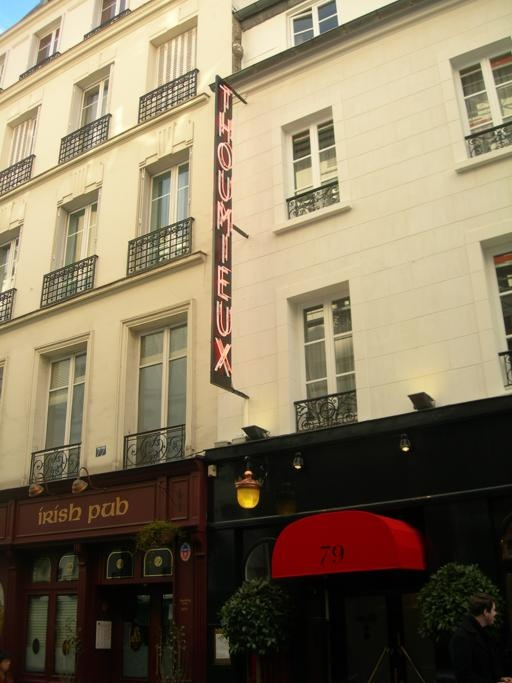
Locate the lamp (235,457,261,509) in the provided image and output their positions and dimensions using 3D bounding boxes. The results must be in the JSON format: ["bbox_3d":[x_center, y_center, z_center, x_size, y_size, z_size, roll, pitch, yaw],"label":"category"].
[{"bbox_3d":[-0.099,1.875,8.606,0.310,0.680,0.725,-4,-20,-2],"label":"lamp"}]

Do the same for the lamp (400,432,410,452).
[{"bbox_3d":[1.740,1.186,7.595,0.149,0.236,0.281,-8,-20,11],"label":"lamp"}]

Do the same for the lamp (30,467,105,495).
[{"bbox_3d":[-3.284,2.395,10.893,1.688,0.459,0.587,-19,-25,36],"label":"lamp"}]

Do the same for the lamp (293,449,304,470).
[{"bbox_3d":[0.547,1.559,8.446,0.154,0.246,0.355,-5,-20,2],"label":"lamp"}]
